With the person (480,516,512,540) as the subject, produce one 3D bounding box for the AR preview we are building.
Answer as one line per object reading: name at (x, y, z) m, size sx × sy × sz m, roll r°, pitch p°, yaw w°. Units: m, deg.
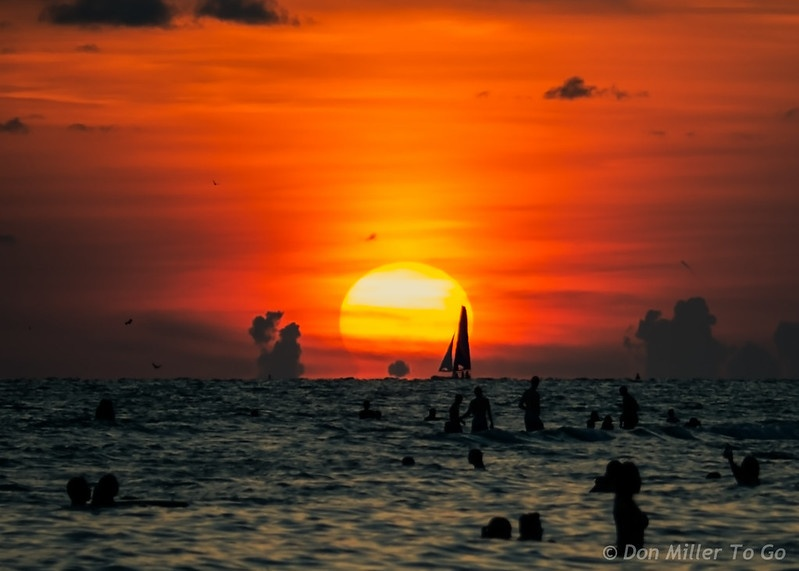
person at (3.701, 9.522, 75.104) m, size 1.166 × 0.874 × 0.797 m, roll 7°, pitch -7°, yaw 16°
